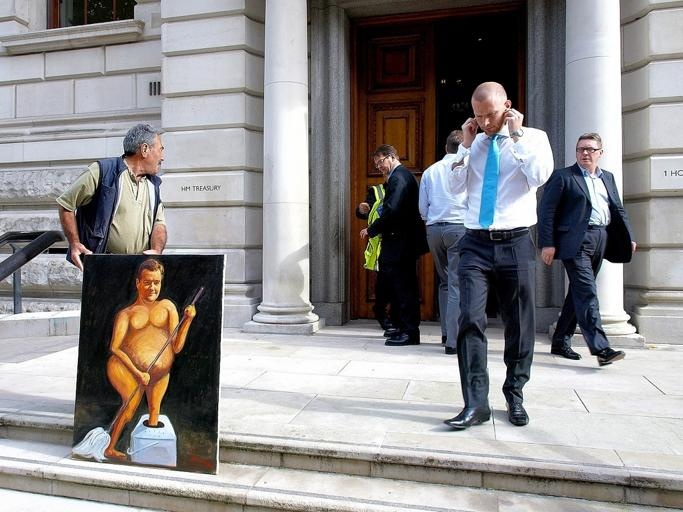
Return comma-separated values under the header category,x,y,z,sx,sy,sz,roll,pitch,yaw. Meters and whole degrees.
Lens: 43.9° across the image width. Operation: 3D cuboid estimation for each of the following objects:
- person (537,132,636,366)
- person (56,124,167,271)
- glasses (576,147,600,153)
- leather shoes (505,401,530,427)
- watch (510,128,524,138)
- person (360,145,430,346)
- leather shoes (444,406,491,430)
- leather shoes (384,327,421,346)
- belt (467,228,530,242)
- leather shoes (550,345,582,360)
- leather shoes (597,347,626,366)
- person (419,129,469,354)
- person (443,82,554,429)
category,x,y,z,sx,sy,sz,roll,pitch,yaw
person,2.611,-0.034,9.352,1.019,2.487,1.086,0,1,-8
person,-2.074,-0.541,7.648,0.921,1.273,0.342,-2,4,-15
glasses,2.668,-1.135,9.074,0.234,0.062,0.124,0,5,12
leather shoes,1.592,1.391,7.560,0.189,0.184,0.217,0,5,12
watch,1.549,-1.068,7.398,0.089,0.044,0.087,-4,1,-27
person,0.621,-0.138,10.219,0.977,2.347,0.884,0,-3,14
leather shoes,1.139,1.423,7.534,0.482,0.195,0.160,0,-4,-28
leather shoes,0.695,0.963,10.137,0.495,0.204,0.161,5,-8,-2
belt,1.406,-0.194,7.597,0.560,0.116,0.139,0,5,11
leather shoes,2.519,1.075,9.437,0.115,0.134,0.330,-3,2,-41
leather shoes,2.802,1.061,8.906,0.349,0.143,0.139,-29,-17,33
person,1.124,-0.067,9.617,0.621,2.192,0.775,6,10,11
person,1.349,-0.018,7.662,1.096,2.979,0.961,0,-1,-13
